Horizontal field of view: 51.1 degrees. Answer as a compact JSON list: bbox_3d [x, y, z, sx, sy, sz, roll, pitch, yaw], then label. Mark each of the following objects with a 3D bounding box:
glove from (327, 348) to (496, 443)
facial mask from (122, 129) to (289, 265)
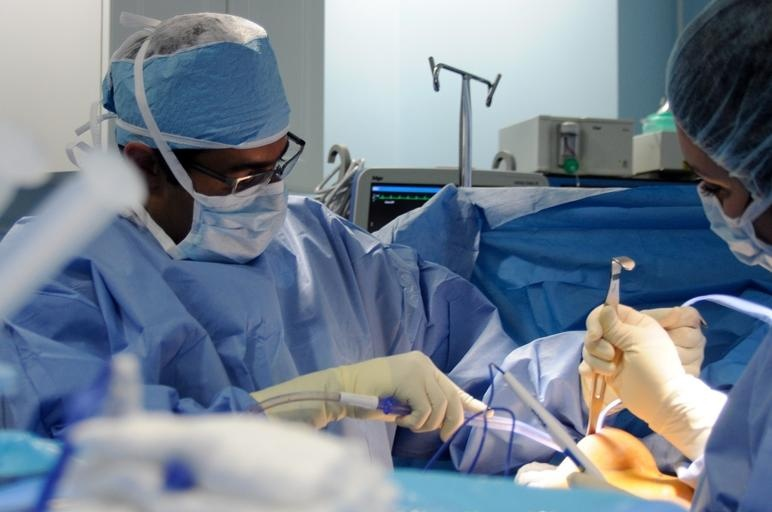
[{"bbox_3d":[0.047,0.331,1.975,0.464,0.297,0.219,1,-18,-4],"label":"glove"},{"bbox_3d":[-0.474,-0.133,2.198,0.330,0.226,0.279,26,10,-1],"label":"facial mask"}]
